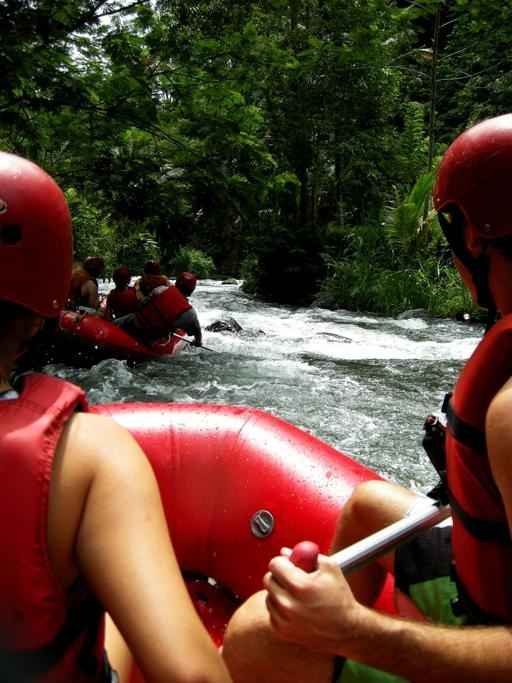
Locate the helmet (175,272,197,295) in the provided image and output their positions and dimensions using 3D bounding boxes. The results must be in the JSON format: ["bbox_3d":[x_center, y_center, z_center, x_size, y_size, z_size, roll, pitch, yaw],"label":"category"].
[{"bbox_3d":[-0.771,-0.654,6.047,0.234,0.275,0.286,20,9,4],"label":"helmet"}]

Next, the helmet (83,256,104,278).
[{"bbox_3d":[-1.752,-0.821,5.819,0.201,0.239,0.250,8,8,-4],"label":"helmet"}]

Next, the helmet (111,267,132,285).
[{"bbox_3d":[-1.477,-0.729,5.868,0.182,0.207,0.227,3,0,-8],"label":"helmet"}]
